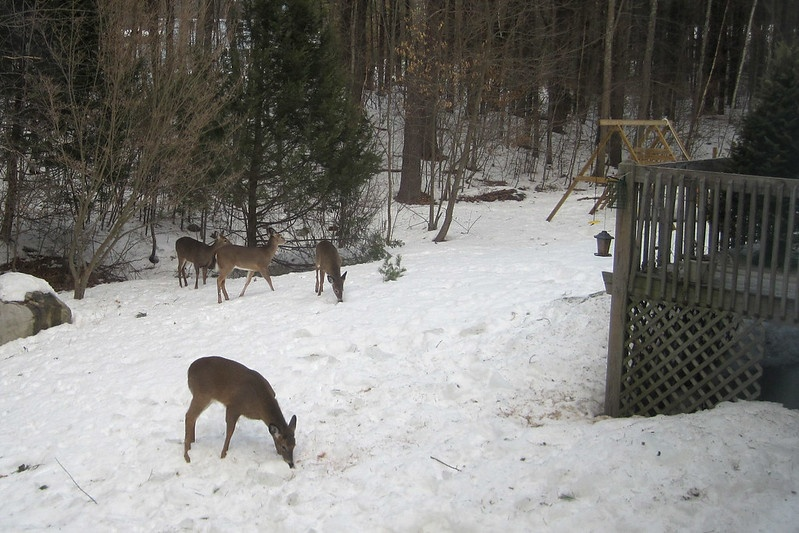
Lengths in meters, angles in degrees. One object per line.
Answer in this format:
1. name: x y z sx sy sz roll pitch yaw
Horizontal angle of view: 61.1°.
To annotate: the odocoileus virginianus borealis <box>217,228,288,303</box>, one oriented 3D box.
1. odocoileus virginianus borealis: -4.244 -0.017 18.994 1.718 1.736 1.551 -3 13 -17
